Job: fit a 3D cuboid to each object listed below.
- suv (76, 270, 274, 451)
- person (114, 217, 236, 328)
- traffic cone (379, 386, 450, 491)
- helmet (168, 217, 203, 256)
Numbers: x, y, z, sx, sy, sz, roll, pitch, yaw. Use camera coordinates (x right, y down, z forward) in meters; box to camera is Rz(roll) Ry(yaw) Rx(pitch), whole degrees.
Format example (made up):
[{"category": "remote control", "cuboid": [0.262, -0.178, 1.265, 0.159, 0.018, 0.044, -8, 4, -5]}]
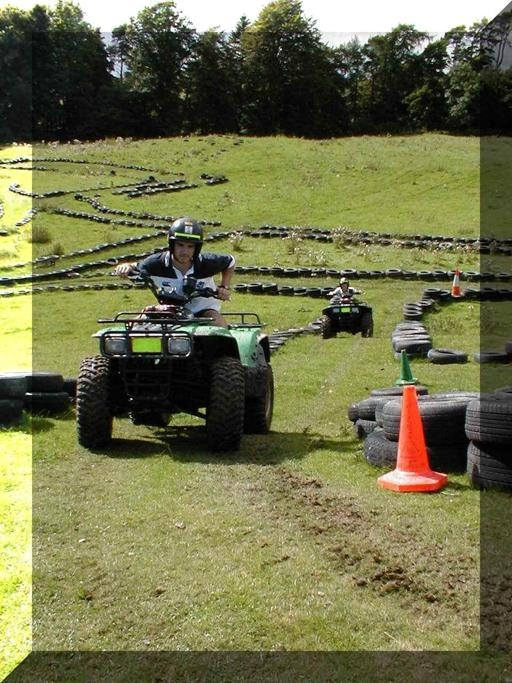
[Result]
[{"category": "suv", "cuboid": [-0.665, 0.272, 7.161, 1.141, 1.290, 2.140, -2, -6, 11]}, {"category": "person", "cuboid": [-0.714, -0.494, 7.094, 1.178, 1.110, 0.733, -8, 11, -35]}, {"category": "traffic cone", "cuboid": [1.066, 0.660, 5.361, 0.439, 0.673, 0.399, 4, 11, 23]}, {"category": "helmet", "cuboid": [-0.634, -0.946, 7.107, 0.293, 0.355, 0.433, -1, 9, -6]}]
